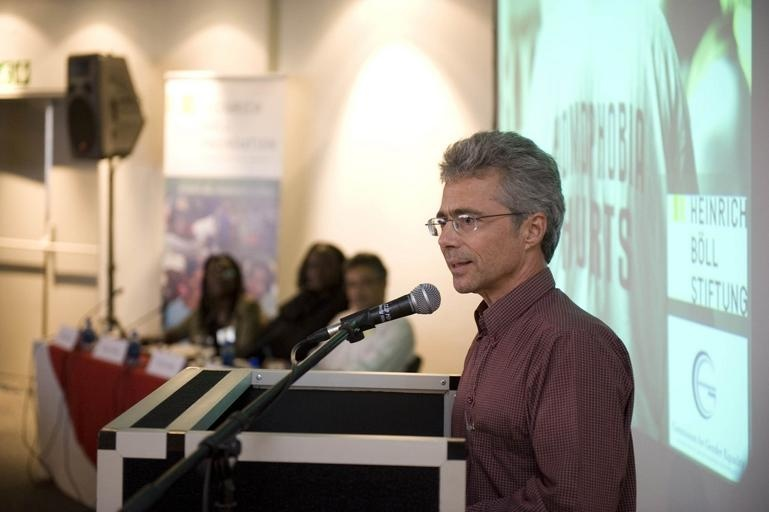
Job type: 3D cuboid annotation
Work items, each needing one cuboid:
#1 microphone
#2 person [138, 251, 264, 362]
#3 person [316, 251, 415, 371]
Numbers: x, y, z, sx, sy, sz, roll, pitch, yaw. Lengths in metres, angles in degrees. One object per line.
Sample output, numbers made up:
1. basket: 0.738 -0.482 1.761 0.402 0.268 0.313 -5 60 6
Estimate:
1. microphone: -0.038 0.265 3.109 0.579 0.138 0.146 -22 11 6
2. person: -0.942 0.318 3.937 1.092 0.680 0.302 -6 -5 13
3. person: -0.124 0.432 3.890 0.675 0.923 0.578 -2 -4 8
